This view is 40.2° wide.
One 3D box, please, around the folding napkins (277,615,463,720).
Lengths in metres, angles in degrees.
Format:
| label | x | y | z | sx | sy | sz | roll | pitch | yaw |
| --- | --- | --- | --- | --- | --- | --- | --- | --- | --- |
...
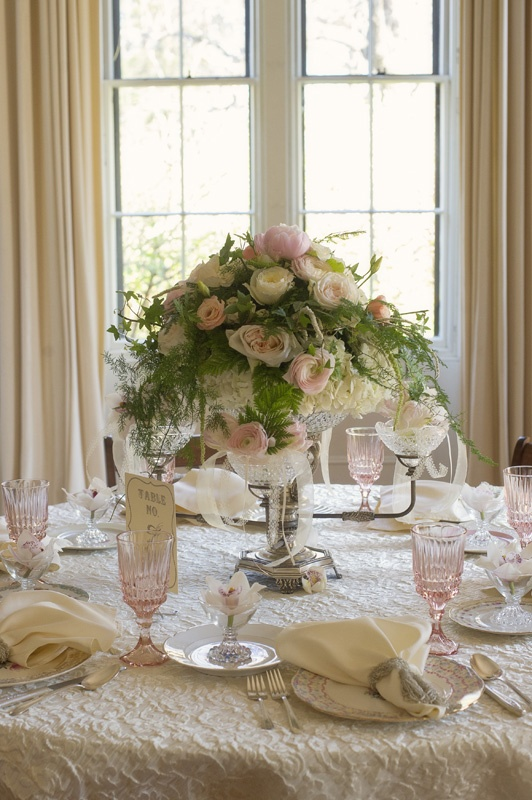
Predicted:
| label | x | y | z | sx | sy | sz | roll | pitch | yaw |
| --- | --- | --- | --- | --- | --- | --- | --- | --- | --- |
| folding napkins | 0.139 | 0.307 | 0.864 | 0.201 | 0.065 | 0.224 | 0 | 2 | -22 |

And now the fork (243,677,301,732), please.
| label | x | y | z | sx | sy | sz | roll | pitch | yaw |
| --- | --- | --- | --- | --- | --- | --- | --- | --- | --- |
| fork | 0.002 | 0.344 | 0.831 | 0.020 | 0.010 | 0.080 | 5 | 15 | -14 |
